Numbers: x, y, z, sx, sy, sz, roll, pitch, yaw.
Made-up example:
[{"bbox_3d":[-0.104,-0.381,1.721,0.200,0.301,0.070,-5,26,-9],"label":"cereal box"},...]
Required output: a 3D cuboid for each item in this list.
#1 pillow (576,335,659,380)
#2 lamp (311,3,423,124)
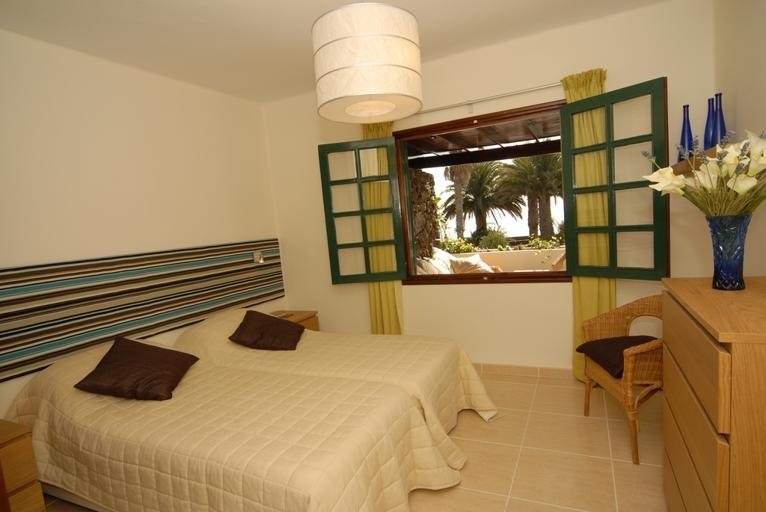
[{"bbox_3d":[1.900,0.759,3.895,0.396,0.093,0.389,-15,5,2],"label":"pillow"},{"bbox_3d":[-0.054,-1.388,3.692,0.870,0.549,0.856,-3,-5,12],"label":"lamp"}]
